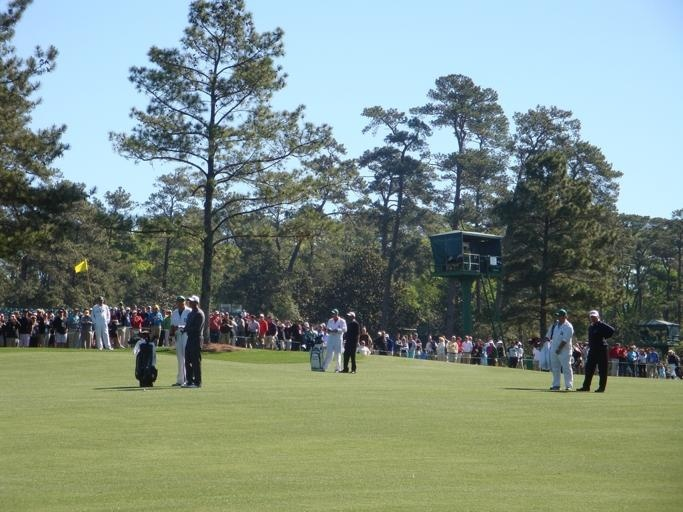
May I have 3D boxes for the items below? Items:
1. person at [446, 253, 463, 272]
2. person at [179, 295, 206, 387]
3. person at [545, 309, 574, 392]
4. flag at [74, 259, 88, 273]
[{"bbox_3d":[7.279,0.427,83.035,0.916,0.980,0.889,5,-9,-16],"label":"person"},{"bbox_3d":[-4.864,2.800,42.858,0.572,2.929,0.965,2,-7,-8],"label":"person"},{"bbox_3d":[7.356,3.107,43.707,0.890,2.645,0.769,1,1,38],"label":"person"},{"bbox_3d":[-15.409,0.540,76.703,0.794,1.134,0.086,11,21,16],"label":"flag"}]
